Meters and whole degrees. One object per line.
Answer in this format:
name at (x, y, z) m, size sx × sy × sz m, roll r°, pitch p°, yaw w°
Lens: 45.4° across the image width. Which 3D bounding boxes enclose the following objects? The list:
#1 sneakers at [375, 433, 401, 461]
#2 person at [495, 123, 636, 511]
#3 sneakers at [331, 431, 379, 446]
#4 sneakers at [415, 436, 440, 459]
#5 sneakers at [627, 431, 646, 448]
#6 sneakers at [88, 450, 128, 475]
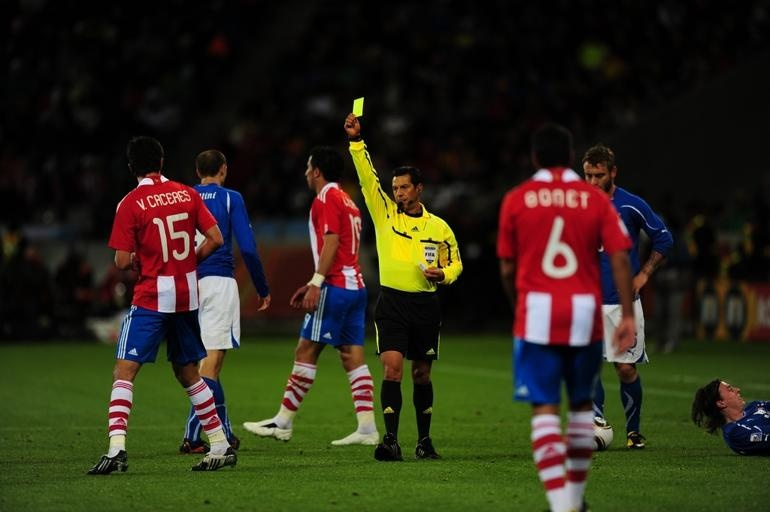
sneakers at (0.029, 2.038, 9.864) m, size 0.294 × 0.290 × 0.158 m, roll 1°, pitch -3°, yaw -1°
person at (1.531, 0.511, 7.898) m, size 1.105 × 3.321 × 0.297 m, roll 1°, pitch -3°, yaw 5°
sneakers at (-0.343, 2.090, 10.597) m, size 0.549 × 0.205 × 0.206 m, roll 1°, pitch -5°, yaw 1°
sneakers at (0.462, 2.073, 10.047) m, size 0.272 × 0.223 × 0.261 m, roll 1°, pitch -4°, yaw 1°
sneakers at (2.858, 2.080, 10.419) m, size 0.098 × 0.153 × 0.315 m, roll 0°, pitch -7°, yaw -5°
sneakers at (-2.766, 2.080, 9.315) m, size 0.498 × 0.224 × 0.194 m, roll -9°, pitch -13°, yaw 14°
